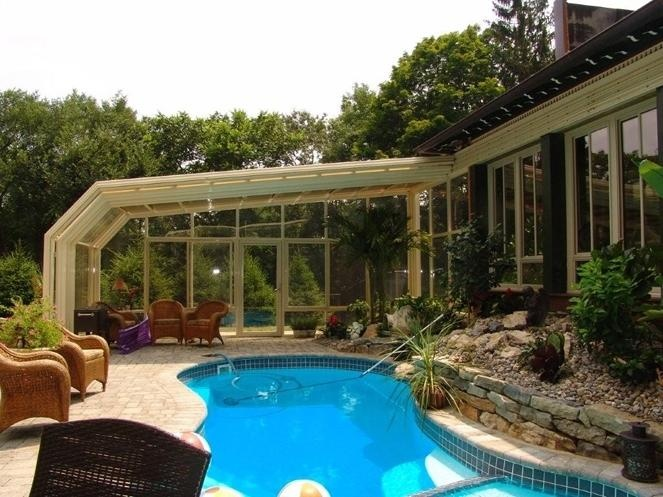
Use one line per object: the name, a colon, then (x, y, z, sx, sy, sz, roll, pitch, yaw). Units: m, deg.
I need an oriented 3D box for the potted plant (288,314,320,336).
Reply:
potted plant: (-0.645, 1.899, 13.931, 0.543, 0.385, 0.545, 2, -5, 4)

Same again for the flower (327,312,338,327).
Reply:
flower: (0.020, 1.670, 12.967, 0.217, 0.235, 0.215, 0, -1, 1)

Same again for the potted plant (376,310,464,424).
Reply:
potted plant: (1.271, 1.725, 7.995, 0.974, 1.164, 1.355, -2, -13, -1)
